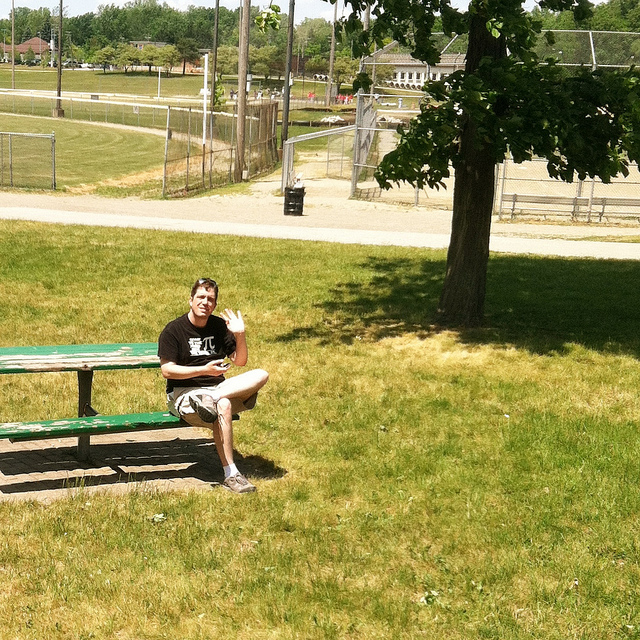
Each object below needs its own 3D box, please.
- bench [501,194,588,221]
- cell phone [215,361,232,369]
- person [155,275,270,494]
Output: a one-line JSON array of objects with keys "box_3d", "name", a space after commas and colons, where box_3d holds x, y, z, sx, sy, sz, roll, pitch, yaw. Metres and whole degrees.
[{"box_3d": [5.998, -3.115, 27.664, 2.182, 0.734, 3.223, 4, 15, 11], "name": "bench"}, {"box_3d": [-0.725, 0.327, 7.846, 0.083, 0.039, 0.141, 3, -6, 4], "name": "cell phone"}, {"box_3d": [-0.839, 0.427, 8.013, 0.819, 1.579, 1.368, -1, 15, -10], "name": "person"}]
